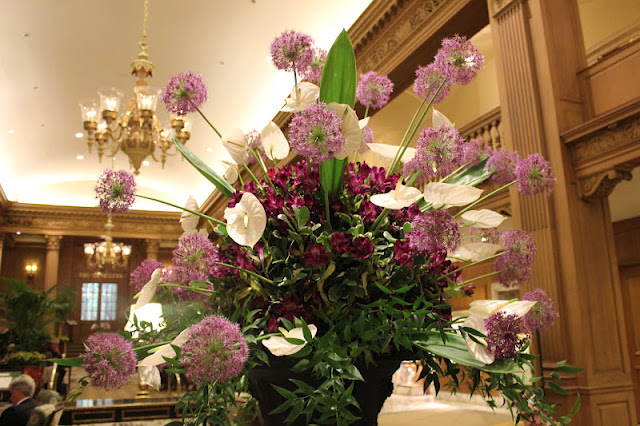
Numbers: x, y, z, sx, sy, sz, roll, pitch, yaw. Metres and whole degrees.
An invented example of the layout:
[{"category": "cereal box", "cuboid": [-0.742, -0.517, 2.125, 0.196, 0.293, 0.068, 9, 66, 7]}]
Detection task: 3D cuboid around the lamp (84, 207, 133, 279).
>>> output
[{"category": "lamp", "cuboid": [-6.987, 0.958, 13.943, 1.346, 1.935, 1.153, 3, 4, -29]}]
